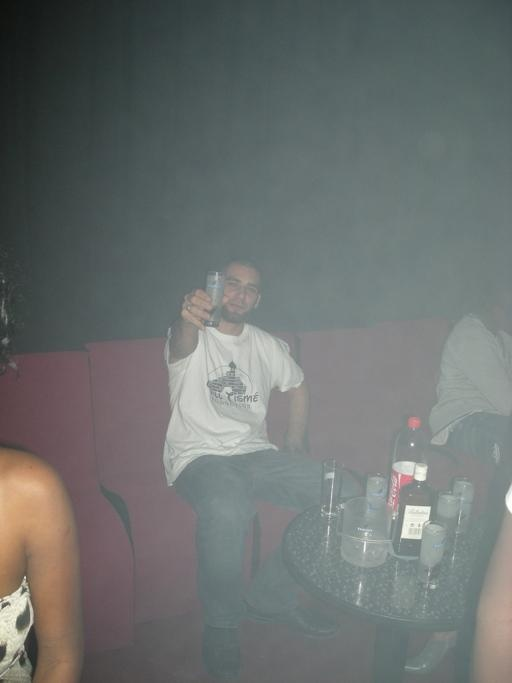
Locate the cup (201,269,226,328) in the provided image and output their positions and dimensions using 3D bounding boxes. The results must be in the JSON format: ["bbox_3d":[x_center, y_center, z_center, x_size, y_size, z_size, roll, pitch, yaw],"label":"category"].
[{"bbox_3d":[-0.139,-0.133,1.964,0.058,0.189,0.110,-9,13,-25],"label":"cup"}]

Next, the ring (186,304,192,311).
[{"bbox_3d":[-0.220,-0.112,1.999,0.006,0.019,0.018,1,17,-33],"label":"ring"}]

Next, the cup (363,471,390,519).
[{"bbox_3d":[0.299,0.399,1.591,0.082,0.139,0.082,5,-2,0],"label":"cup"}]
